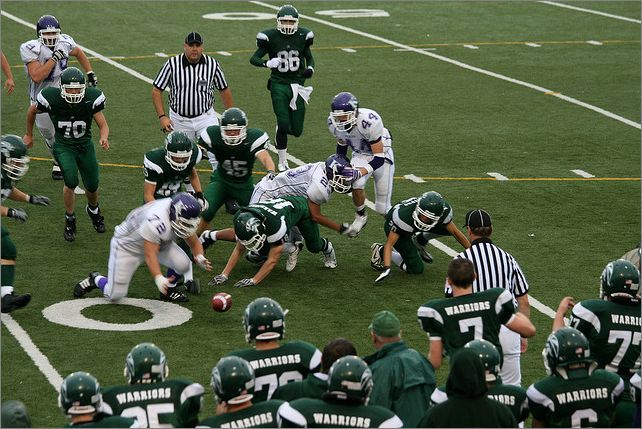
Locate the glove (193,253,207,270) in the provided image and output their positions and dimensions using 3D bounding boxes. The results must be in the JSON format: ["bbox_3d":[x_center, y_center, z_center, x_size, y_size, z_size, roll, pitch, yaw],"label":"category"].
[{"bbox_3d":[-1.201,0.483,8.195,0.174,0.048,0.094,47,6,-47],"label":"glove"}]

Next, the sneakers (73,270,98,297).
[{"bbox_3d":[-2.396,0.720,8.305,0.271,0.103,0.117,-37,29,5],"label":"sneakers"}]

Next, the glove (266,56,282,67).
[{"bbox_3d":[-0.670,-2.139,11.464,0.200,0.160,0.241,3,20,-8],"label":"glove"}]

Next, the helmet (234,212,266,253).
[{"bbox_3d":[-0.724,0.185,8.383,0.351,0.403,0.224,5,21,-6],"label":"helmet"}]

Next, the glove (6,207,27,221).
[{"bbox_3d":[-3.024,0.002,8.116,0.166,0.062,0.127,25,-7,-12],"label":"glove"}]

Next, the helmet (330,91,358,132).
[{"bbox_3d":[0.304,-1.248,9.594,0.333,0.364,0.439,2,31,31],"label":"helmet"}]

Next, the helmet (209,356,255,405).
[{"bbox_3d":[-0.596,1.137,5.578,0.268,0.264,0.326,-2,0,-16],"label":"helmet"}]

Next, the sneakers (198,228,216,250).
[{"bbox_3d":[-1.258,0.262,9.001,0.134,0.282,0.107,37,23,17],"label":"sneakers"}]

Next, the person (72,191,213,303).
[{"bbox_3d":[-1.811,0.383,8.158,1.528,1.000,0.962,-1,12,2],"label":"person"}]

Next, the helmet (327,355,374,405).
[{"bbox_3d":[0.203,1.125,5.595,0.350,0.319,0.432,7,0,10],"label":"helmet"}]

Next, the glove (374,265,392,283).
[{"bbox_3d":[0.635,0.634,8.510,0.091,0.107,0.259,-8,-20,-40],"label":"glove"}]

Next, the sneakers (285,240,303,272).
[{"bbox_3d":[-0.235,0.457,8.941,0.135,0.368,0.167,19,5,16],"label":"sneakers"}]

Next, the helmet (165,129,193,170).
[{"bbox_3d":[-1.520,-0.719,8.640,0.342,0.330,0.422,-4,35,-26],"label":"helmet"}]

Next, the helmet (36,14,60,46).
[{"bbox_3d":[-3.599,-2.452,10.709,0.320,0.337,0.435,-11,30,-28],"label":"helmet"}]

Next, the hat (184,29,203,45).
[{"bbox_3d":[-1.642,-2.318,10.531,0.260,0.187,0.381,-1,3,-12],"label":"hat"}]

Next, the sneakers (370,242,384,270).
[{"bbox_3d":[0.618,0.456,8.879,0.118,0.286,0.135,0,10,5],"label":"sneakers"}]

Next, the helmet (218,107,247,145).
[{"bbox_3d":[-0.972,-1.025,9.187,0.341,0.326,0.396,0,38,-1],"label":"helmet"}]

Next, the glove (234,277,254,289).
[{"bbox_3d":[-0.817,0.723,8.522,0.248,0.097,0.080,-1,60,-8],"label":"glove"}]

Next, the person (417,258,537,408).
[{"bbox_3d":[1.222,1.222,6.834,0.996,1.749,0.597,-7,19,-13],"label":"person"}]

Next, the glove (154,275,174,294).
[{"bbox_3d":[-1.530,0.685,7.903,0.154,0.183,0.057,-26,5,-26],"label":"glove"}]

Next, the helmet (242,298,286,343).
[{"bbox_3d":[-0.383,0.810,6.205,0.385,0.355,0.481,-7,0,1],"label":"helmet"}]

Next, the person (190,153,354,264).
[{"bbox_3d":[-0.659,-0.189,9.169,2.119,0.642,1.173,-10,22,-4],"label":"person"}]

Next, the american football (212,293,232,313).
[{"bbox_3d":[-0.950,0.855,7.943,0.195,0.174,0.185,-1,4,-20],"label":"american football"}]

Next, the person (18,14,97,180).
[{"bbox_3d":[-3.520,-1.576,11.065,0.943,2.044,1.078,7,17,43],"label":"person"}]

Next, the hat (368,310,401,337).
[{"bbox_3d":[0.505,0.839,6.416,0.244,0.168,0.327,-2,6,-14],"label":"hat"}]

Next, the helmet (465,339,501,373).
[{"bbox_3d":[1.168,0.985,5.789,0.274,0.206,0.200,15,12,-29],"label":"helmet"}]

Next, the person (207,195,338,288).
[{"bbox_3d":[-0.421,0.269,8.846,0.674,0.870,1.718,12,18,37],"label":"person"}]

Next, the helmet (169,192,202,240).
[{"bbox_3d":[-1.367,-0.009,8.070,0.384,0.338,0.302,33,26,27],"label":"helmet"}]

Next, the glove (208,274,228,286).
[{"bbox_3d":[-1.082,0.693,8.564,0.171,0.068,0.117,-26,23,-17],"label":"glove"}]

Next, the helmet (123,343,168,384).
[{"bbox_3d":[-1.248,1.084,5.844,0.329,0.314,0.406,0,-5,-13],"label":"helmet"}]

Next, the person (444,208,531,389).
[{"bbox_3d":[1.438,1.052,7.286,0.866,2.067,0.659,0,1,-6],"label":"person"}]

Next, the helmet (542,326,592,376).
[{"bbox_3d":[1.852,1.020,5.998,0.352,0.371,0.441,-4,-10,1],"label":"helmet"}]

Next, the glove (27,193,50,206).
[{"bbox_3d":[-2.937,-0.118,8.452,0.234,0.086,0.128,11,26,-29],"label":"glove"}]

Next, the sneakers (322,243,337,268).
[{"bbox_3d":[0.109,0.434,8.996,0.114,0.304,0.146,-2,-1,9],"label":"sneakers"}]

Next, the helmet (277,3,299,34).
[{"bbox_3d":[-0.478,-2.805,11.692,0.351,0.337,0.416,0,12,-3],"label":"helmet"}]

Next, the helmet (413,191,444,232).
[{"bbox_3d":[1.133,-0.012,8.507,0.330,0.440,0.238,9,21,6],"label":"helmet"}]

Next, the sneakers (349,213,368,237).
[{"bbox_3d":[0.453,0.117,9.358,0.119,0.148,0.340,3,34,25],"label":"sneakers"}]

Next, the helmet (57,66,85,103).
[{"bbox_3d":[-2.827,-1.501,9.186,0.313,0.317,0.396,-6,31,-34],"label":"helmet"}]
